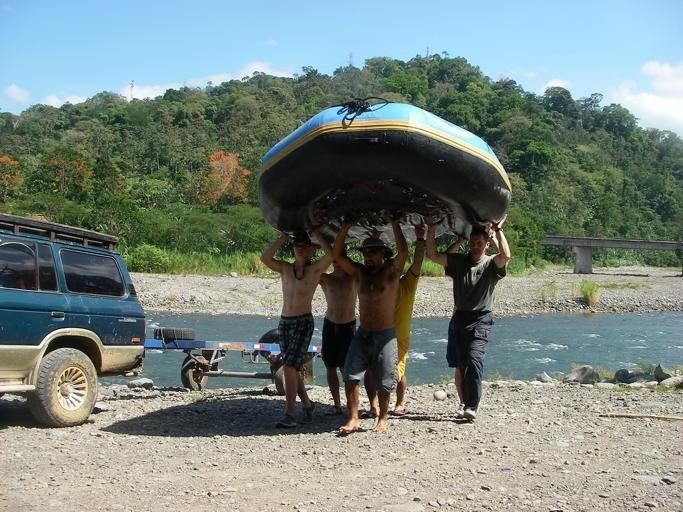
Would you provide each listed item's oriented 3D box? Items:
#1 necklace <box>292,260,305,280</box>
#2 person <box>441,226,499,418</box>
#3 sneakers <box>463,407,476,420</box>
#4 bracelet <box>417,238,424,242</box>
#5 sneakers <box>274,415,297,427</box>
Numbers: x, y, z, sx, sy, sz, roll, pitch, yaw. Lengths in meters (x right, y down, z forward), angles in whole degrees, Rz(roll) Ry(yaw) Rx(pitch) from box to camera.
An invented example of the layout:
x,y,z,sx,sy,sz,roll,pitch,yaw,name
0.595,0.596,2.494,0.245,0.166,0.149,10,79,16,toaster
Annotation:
x,y,z,sx,sy,sz,roll,pitch,yaw,name
-0.546,0.187,7.874,0.145,0.222,0.042,-3,-3,15,necklace
1.668,0.838,7.791,0.701,2.425,0.414,-1,-1,14,person
1.603,1.969,7.756,0.171,0.169,0.168,0,-1,7,sneakers
1.039,-0.218,8.083,0.056,0.035,0.053,8,5,40,bracelet
-0.678,2.063,7.761,0.276,0.160,0.154,0,-1,-14,sneakers
